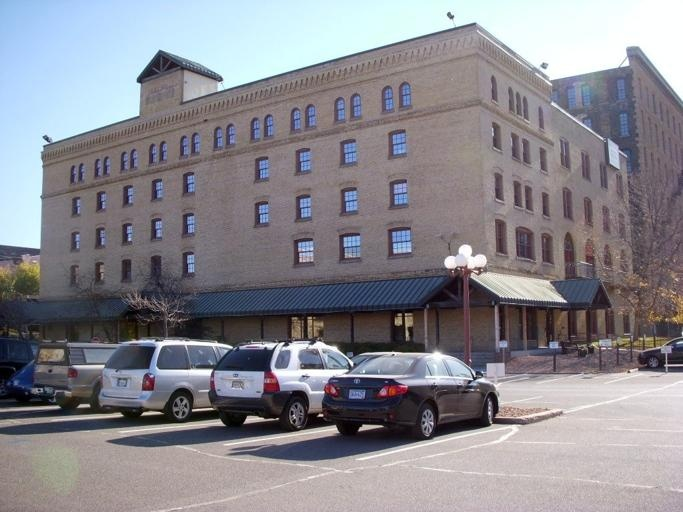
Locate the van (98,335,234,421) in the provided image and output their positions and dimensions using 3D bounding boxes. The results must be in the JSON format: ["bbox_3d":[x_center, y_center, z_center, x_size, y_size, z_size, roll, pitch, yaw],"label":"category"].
[{"bbox_3d":[-4.827,3.424,19.153,1.965,1.723,3.937,-4,-4,37],"label":"van"}]

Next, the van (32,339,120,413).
[{"bbox_3d":[-8.634,3.662,20.952,1.693,1.663,3.094,-5,-5,44],"label":"van"}]

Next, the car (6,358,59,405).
[{"bbox_3d":[-10.534,4.540,24.331,3.012,1.565,1.756,9,-11,-38],"label":"car"}]

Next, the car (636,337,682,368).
[{"bbox_3d":[17.827,5.490,37.226,2.556,1.190,1.285,-1,-8,10],"label":"car"}]

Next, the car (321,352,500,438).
[{"bbox_3d":[1.926,3.244,16.333,1.855,1.411,3.861,-7,-7,42],"label":"car"}]
